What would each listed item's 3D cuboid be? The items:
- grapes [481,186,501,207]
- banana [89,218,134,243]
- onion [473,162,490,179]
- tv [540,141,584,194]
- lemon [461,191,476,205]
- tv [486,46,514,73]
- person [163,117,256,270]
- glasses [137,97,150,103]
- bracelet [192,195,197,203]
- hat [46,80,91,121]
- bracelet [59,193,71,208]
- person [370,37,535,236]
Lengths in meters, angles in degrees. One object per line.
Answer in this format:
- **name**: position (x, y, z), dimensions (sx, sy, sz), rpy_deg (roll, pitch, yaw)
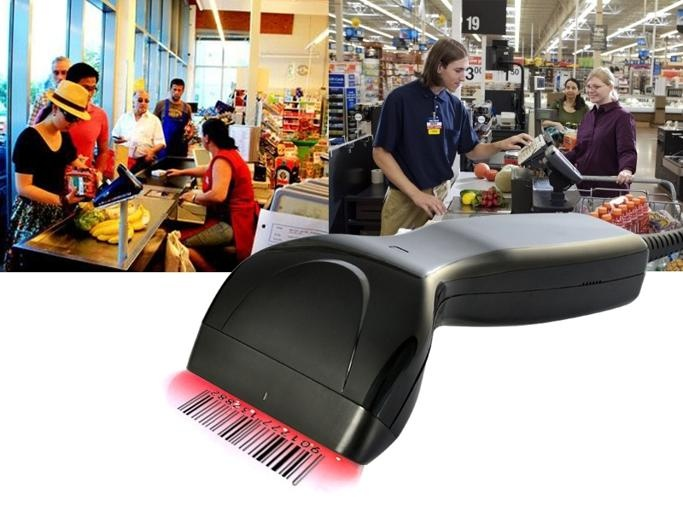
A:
- **grapes**: position (0.751, -0.289, 2.340), dimensions (0.102, 0.089, 0.100), rpy_deg (5, 13, 19)
- **banana**: position (-1.688, -0.180, 3.409), dimensions (0.225, 0.179, 0.077), rpy_deg (-1, -6, -15)
- **onion**: position (1.050, -0.635, 3.483), dimensions (0.103, 0.151, 0.118), rpy_deg (3, 9, 14)
- **tv**: position (0.932, -0.366, 1.934), dimensions (0.050, 0.181, 0.188), rpy_deg (-24, 21, -3)
- **lemon**: position (0.649, -0.289, 2.366), dimensions (0.033, 0.045, 0.085), rpy_deg (-21, -5, 8)
- **tv**: position (1.341, -1.648, 3.934), dimensions (0.186, 0.215, 0.160), rpy_deg (-3, 26, 3)
- **person**: position (-1.059, -0.523, 3.635), dimensions (0.657, 1.371, 0.586), rpy_deg (9, 21, 10)
- **glasses**: position (-1.538, -1.199, 3.630), dimensions (0.040, 0.015, 0.044), rpy_deg (1, -13, -16)
- **bracelet**: position (-1.149, -0.446, 3.677), dimensions (0.032, 0.066, 0.020), rpy_deg (1, 11, 6)
- **hat**: position (-1.962, -1.114, 3.369), dimensions (0.258, 0.102, 0.233), rpy_deg (42, 16, 10)
- **bracelet**: position (-2.053, -0.401, 3.465), dimensions (0.065, 0.090, 0.029), rpy_deg (4, 4, -17)
- **person**: position (0.599, -0.730, 2.979), dimensions (0.780, 1.223, 0.666), rpy_deg (1, 11, 3)
